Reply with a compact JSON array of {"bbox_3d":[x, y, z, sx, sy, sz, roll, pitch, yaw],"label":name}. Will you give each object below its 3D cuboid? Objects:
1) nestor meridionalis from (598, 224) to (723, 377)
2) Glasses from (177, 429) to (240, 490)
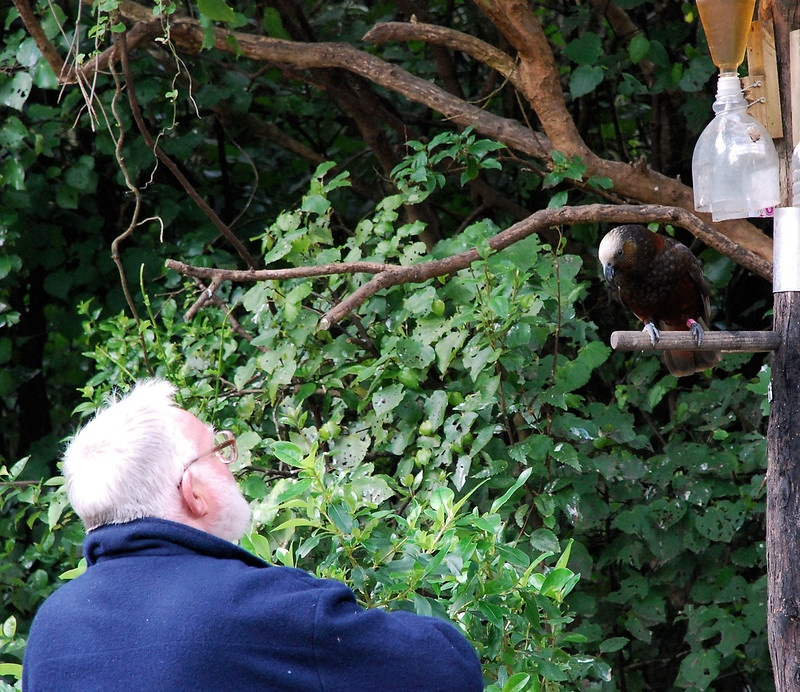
[{"bbox_3d":[1.022,-0.276,4.962,0.355,0.429,0.412,-16,-12,11],"label":"nestor meridionalis"},{"bbox_3d":[-0.520,0.274,3.314,0.156,0.049,0.164,-48,-2,3],"label":"Glasses"}]
